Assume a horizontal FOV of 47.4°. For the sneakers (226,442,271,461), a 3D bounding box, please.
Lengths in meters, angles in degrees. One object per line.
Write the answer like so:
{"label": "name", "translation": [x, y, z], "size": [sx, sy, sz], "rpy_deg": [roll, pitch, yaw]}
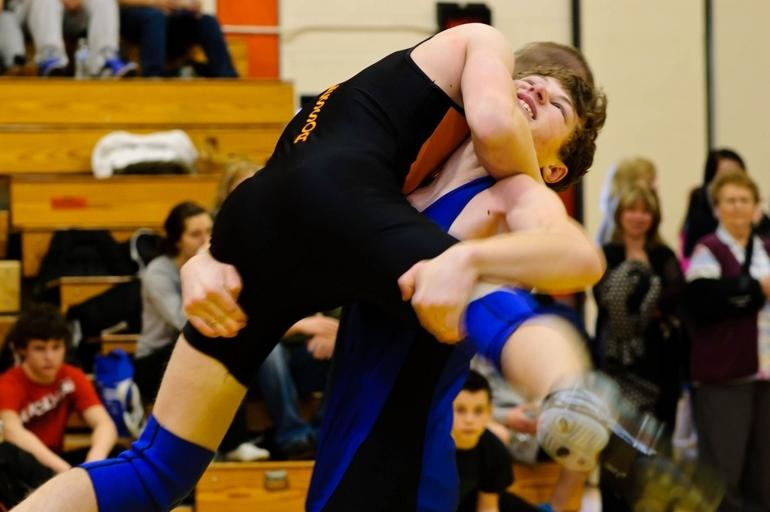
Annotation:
{"label": "sneakers", "translation": [-0.623, 0.874, 3.952], "size": [0.177, 0.083, 0.080], "rpy_deg": [-2, -6, 0]}

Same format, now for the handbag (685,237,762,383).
{"label": "handbag", "translation": [1.485, 0.233, 3.793], "size": [0.287, 0.630, 0.204], "rpy_deg": [6, 7, 25]}
